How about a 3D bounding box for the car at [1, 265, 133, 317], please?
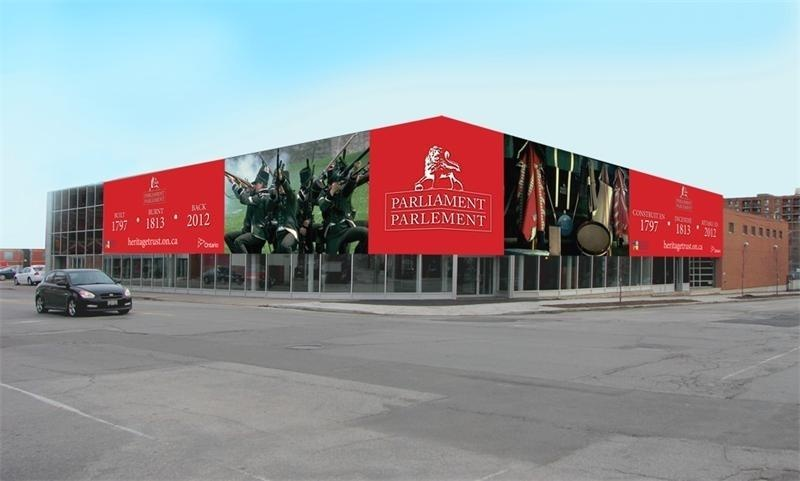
[{"bbox_3d":[-14.007,2.292,25.716,5.333,1.920,2.250,-1,-2,42],"label":"car"}]
